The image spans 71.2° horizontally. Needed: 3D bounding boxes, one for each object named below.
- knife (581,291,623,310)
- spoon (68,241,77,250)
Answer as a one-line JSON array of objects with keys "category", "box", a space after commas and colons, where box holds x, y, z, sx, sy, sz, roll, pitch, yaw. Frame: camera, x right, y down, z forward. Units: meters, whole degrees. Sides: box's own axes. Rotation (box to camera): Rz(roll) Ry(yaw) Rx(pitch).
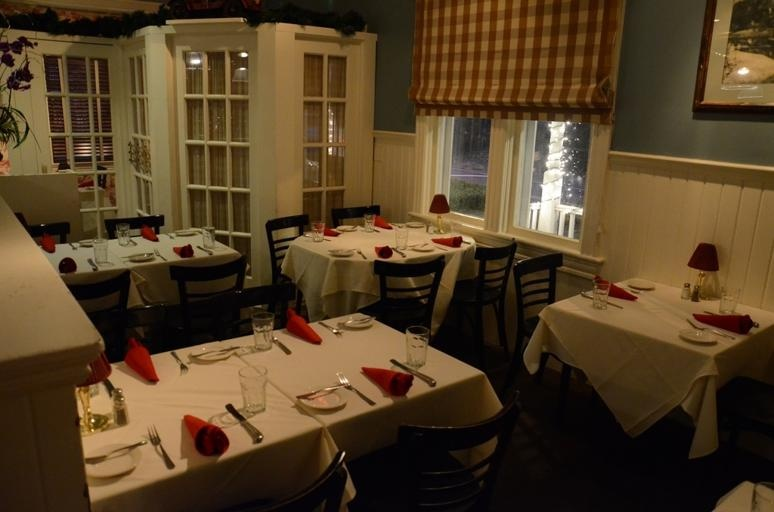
[{"category": "knife", "box": [1.448, 0.298, 3.605, 0.221, 0.032, 0.031, 24, 30, 27]}, {"category": "spoon", "box": [-2.609, -0.086, 4.460, 0.064, 0.035, 0.252, 20, -8, -25]}]
